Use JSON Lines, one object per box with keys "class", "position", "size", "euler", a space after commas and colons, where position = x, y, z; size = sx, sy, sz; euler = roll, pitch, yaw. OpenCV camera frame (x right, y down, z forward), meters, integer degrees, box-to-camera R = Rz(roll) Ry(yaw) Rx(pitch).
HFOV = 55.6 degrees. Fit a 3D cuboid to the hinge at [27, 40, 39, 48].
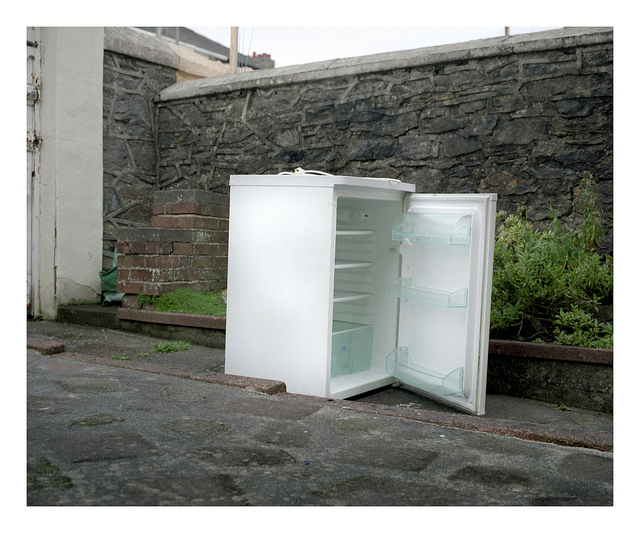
{"class": "hinge", "position": [-3.658, -2.823, 7.722], "size": [0.103, 0.059, 0.037], "euler": [5, 46, -11]}
